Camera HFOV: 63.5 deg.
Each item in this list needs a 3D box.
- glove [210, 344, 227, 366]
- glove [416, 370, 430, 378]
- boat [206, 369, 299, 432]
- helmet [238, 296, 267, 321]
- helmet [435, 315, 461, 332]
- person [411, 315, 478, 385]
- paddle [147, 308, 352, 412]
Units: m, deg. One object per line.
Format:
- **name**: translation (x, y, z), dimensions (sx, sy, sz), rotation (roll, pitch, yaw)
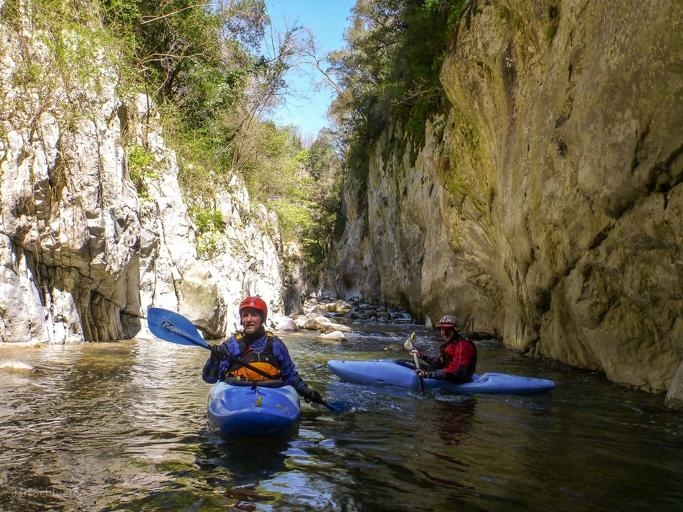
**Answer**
- **glove**: translation (-1.522, 1.212, 6.763), dimensions (0.179, 0.242, 0.144), rotation (-1, 4, -41)
- **glove**: translation (1.340, 1.945, 9.106), dimensions (0.150, 0.083, 0.211), rotation (3, -6, 7)
- **boat**: translation (-1.201, 1.891, 7.393), dimensions (1.225, 0.663, 2.357), rotation (5, -4, -10)
- **helmet**: translation (-1.105, 0.682, 7.034), dimensions (0.254, 0.265, 0.333), rotation (3, -3, 4)
- **helmet**: translation (1.776, 1.115, 9.333), dimensions (0.341, 0.256, 0.472), rotation (4, -3, -16)
- **person**: translation (1.799, 1.790, 9.511), dimensions (1.098, 1.544, 1.139), rotation (2, -1, 1)
- **paddle**: translation (-1.596, 1.712, 9.066), dimensions (3.161, 0.485, 0.205), rotation (26, 9, 21)
